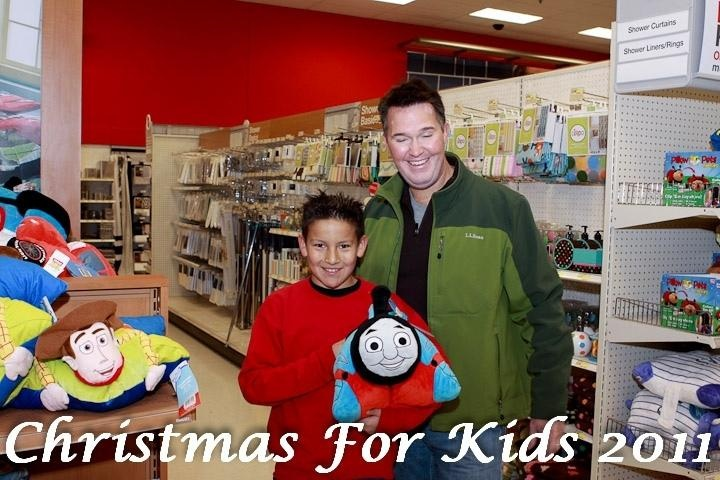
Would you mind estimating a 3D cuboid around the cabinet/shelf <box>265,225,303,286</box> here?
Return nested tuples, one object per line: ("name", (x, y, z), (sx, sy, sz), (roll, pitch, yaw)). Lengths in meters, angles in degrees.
("cabinet/shelf", (-0.952, 0.268, 5.648), (0.241, 0.707, 0.725), (4, -6, 26))

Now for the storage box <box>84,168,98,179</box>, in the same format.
("storage box", (-5.182, -1.264, 9.323), (0.206, 0.222, 0.212), (2, -4, -34))

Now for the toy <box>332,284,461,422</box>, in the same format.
("toy", (0.091, 0.401, 1.745), (0.433, 0.469, 0.234), (-5, -6, -9))
